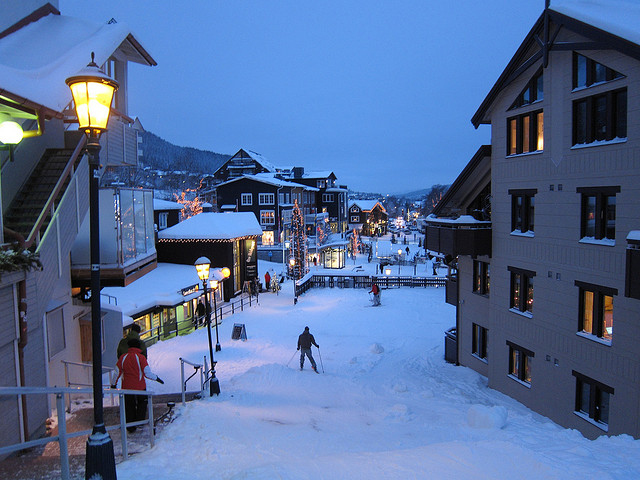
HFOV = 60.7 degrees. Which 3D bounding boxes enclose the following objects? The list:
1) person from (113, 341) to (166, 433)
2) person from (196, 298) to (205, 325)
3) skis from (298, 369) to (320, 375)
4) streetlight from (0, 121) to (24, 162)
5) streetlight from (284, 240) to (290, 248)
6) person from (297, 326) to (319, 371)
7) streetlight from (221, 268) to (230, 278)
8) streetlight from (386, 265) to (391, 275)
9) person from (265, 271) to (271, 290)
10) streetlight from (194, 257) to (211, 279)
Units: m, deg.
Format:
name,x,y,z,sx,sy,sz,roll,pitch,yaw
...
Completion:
name,x,y,z,sx,sy,sz,roll,pitch,yaw
person,-5.245,4.091,15.620,1.212,2.769,0.767,-1,10,-22
person,-6.503,4.025,29.844,0.418,1.195,0.933,3,1,-12
skis,-0.468,5.502,22.790,1.079,0.200,0.283,5,-21,2
streetlight,-8.312,-2.687,14.764,0.513,0.817,0.534,3,1,-35
streetlight,-3.022,0.314,52.658,0.633,0.878,0.719,2,9,3
person,-0.520,4.635,23.172,0.849,1.765,1.547,4,1,-2
streetlight,-4.777,1.695,27.539,0.090,0.482,0.418,5,14,32
streetlight,6.140,2.640,47.828,0.480,0.967,0.544,1,-3,-2
person,-3.938,3.063,40.920,0.364,1.122,0.895,3,1,-5
streetlight,-4.592,1.089,21.410,0.633,0.972,0.627,-3,5,-21
